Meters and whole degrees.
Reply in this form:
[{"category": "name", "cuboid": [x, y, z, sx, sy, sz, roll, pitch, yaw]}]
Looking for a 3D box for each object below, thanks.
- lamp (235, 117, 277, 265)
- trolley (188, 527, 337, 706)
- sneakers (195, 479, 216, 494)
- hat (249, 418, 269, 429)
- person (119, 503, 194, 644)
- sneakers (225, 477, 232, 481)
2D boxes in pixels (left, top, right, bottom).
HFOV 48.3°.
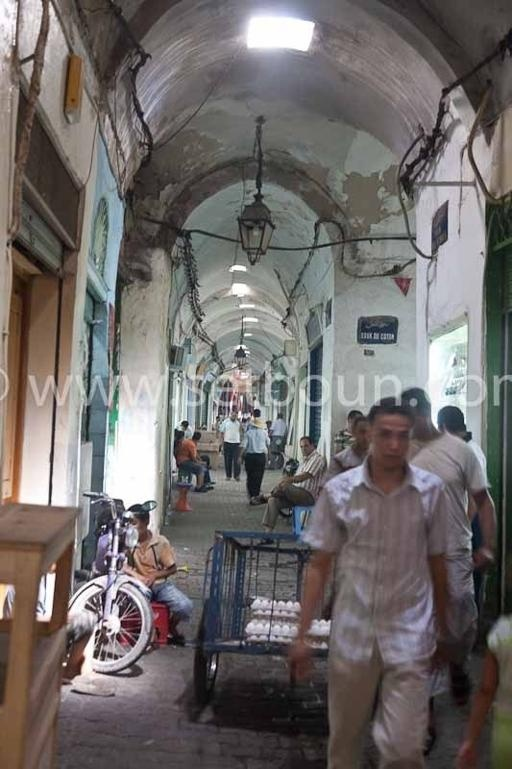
[{"category": "lamp", "cuboid": [0.013, -2.825, 8.092, 0.485, 2.450, 0.519, 5, -15, -5]}, {"category": "trolley", "cuboid": [-0.161, 1.481, 3.782, 0.676, 0.932, 1.069, -4, -14, -34]}, {"category": "sneakers", "cuboid": [-1.269, 2.535, 14.047, 0.159, 0.255, 0.532, 3, 7, 28]}, {"category": "hat", "cuboid": [0.023, 0.821, 11.708, 0.336, 0.239, 0.694, 1, -4, -1]}, {"category": "person", "cuboid": [-0.847, 1.450, 4.345, 0.496, 1.017, 0.595, -7, 3, -37]}, {"category": "sneakers", "cuboid": [-0.816, 2.755, 16.619, 0.100, 0.138, 0.308, -1, -9, 6]}]
